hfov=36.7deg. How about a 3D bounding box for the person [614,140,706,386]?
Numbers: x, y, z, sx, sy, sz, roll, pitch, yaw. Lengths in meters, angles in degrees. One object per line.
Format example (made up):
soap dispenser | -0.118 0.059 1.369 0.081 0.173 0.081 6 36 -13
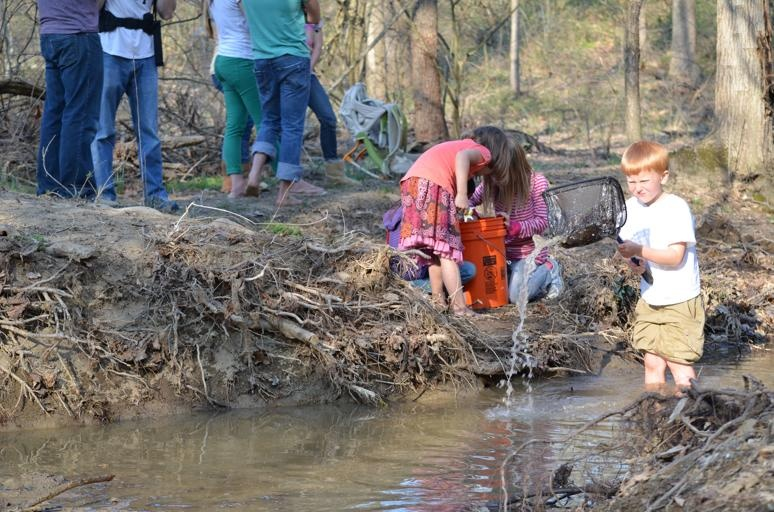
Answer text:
person | 2.835 0.111 12.131 0.830 2.642 0.586 -2 2 15

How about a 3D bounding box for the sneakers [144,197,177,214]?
sneakers | -2.839 -0.577 14.460 0.355 0.158 0.210 12 12 -22

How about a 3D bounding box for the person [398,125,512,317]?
person | 0.733 -0.398 13.365 1.253 2.160 0.536 -2 1 -1
